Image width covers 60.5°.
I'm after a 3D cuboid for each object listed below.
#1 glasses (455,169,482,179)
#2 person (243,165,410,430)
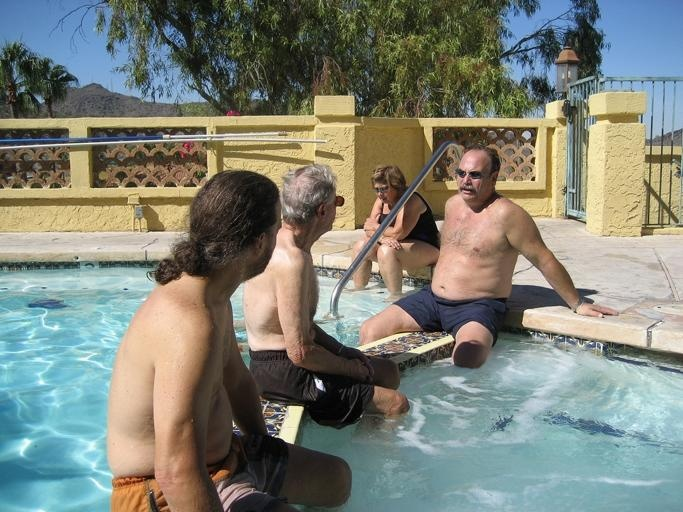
[{"bbox_3d":[0.932,-0.617,4.361,0.236,0.084,0.073,6,12,44],"label":"glasses"},{"bbox_3d":[-0.077,0.374,3.206,0.886,1.688,0.744,-2,11,-8],"label":"person"}]
